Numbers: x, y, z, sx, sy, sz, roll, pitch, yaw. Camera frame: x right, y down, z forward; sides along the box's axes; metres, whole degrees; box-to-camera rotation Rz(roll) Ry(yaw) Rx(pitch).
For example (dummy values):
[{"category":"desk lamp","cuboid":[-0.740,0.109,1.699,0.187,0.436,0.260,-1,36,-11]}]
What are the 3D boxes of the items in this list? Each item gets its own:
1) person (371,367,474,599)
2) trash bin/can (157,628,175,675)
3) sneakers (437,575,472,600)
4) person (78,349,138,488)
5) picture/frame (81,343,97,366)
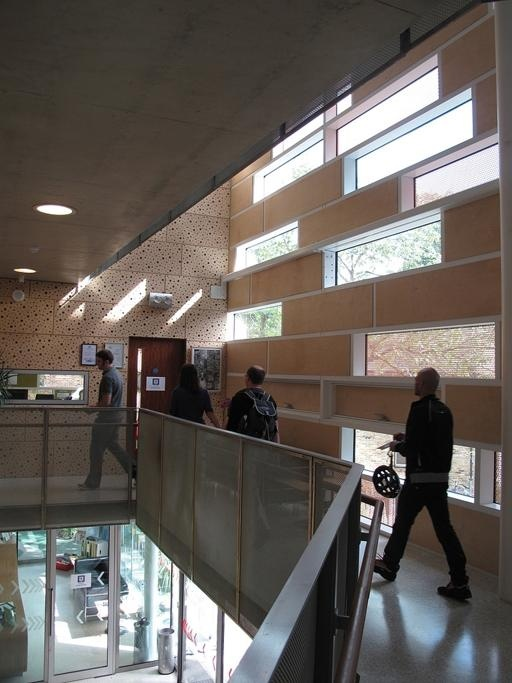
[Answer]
[{"category":"person","cuboid":[1.287,1.068,4.103,0.705,1.707,0.383,2,-5,29]},{"category":"trash bin/can","cuboid":[-1.628,5.686,9.839,0.361,0.776,0.240,5,-4,-12]},{"category":"sneakers","cuboid":[1.441,1.833,3.981,0.111,0.129,0.282,-1,-1,-32]},{"category":"person","cuboid":[-1.887,1.016,6.814,0.380,1.757,0.553,2,-5,33]},{"category":"picture/frame","cuboid":[-3.032,0.267,9.734,0.347,0.615,0.062,4,-7,-39]}]
